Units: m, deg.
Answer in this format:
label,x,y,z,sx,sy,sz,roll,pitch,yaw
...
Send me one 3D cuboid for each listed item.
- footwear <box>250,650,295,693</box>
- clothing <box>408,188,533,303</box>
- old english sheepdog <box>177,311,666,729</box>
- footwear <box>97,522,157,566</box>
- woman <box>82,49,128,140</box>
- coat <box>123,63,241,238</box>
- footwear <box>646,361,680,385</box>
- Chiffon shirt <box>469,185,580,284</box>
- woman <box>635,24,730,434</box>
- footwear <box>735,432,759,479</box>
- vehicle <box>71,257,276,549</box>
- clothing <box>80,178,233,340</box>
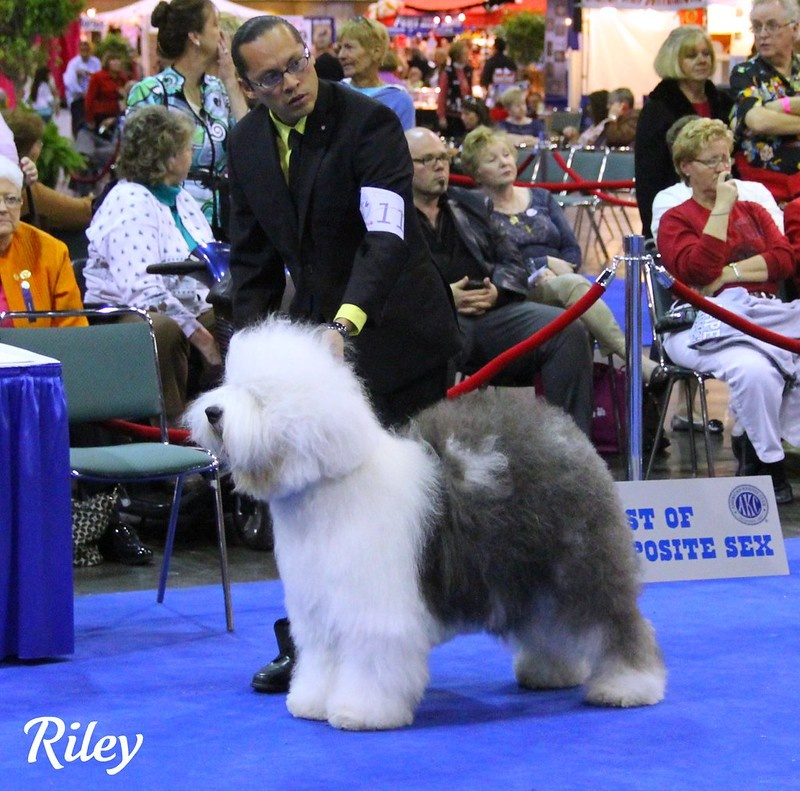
label,x,y,z,sx,sy,sz,roll,pitch,yaw
footwear,-0.346,0.743,3.226,0.061,0.061,0.142,0,-8,34
clothing,0.335,-0.686,5.495,0.526,0.686,0.279,-6,-17,-39
old english sheepdog,0.050,0.335,2.976,1.152,0.906,0.535,0,-1,-21
footwear,-1.091,0.582,4.750,0.310,0.128,0.105,4,7,44
woman,-3.638,-3.491,14.889,0.511,1.588,0.390,-10,43,-28
coat,-1.013,-1.084,5.754,0.665,0.886,0.327,-13,24,-43
footwear,1.183,-0.101,5.501,0.101,0.074,0.076,-14,-12,41
Chiffon shirt,0.632,-0.825,6.334,0.591,0.539,0.322,-12,8,-4
woman,1.580,-1.151,6.788,0.522,1.743,0.467,-5,30,-10
footwear,1.493,0.251,5.211,0.111,0.191,0.155,-7,8,18
vehicle,-0.757,-0.184,4.616,0.249,0.742,0.778,27,-53,-28
clothing,-1.046,-0.549,5.487,0.619,0.737,0.955,0,5,22
